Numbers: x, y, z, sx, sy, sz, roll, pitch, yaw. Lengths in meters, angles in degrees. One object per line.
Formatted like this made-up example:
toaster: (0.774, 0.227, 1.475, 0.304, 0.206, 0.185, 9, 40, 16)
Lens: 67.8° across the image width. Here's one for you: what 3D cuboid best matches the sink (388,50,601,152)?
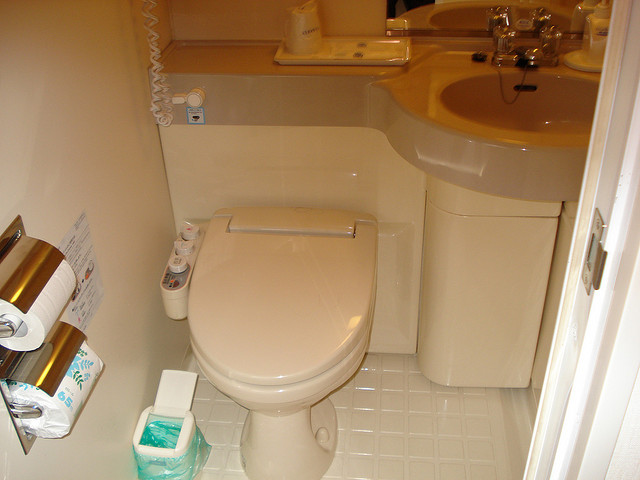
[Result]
sink: (0.405, -0.322, 1.160, 0.472, 0.171, 0.389, 16, 38, 26)
